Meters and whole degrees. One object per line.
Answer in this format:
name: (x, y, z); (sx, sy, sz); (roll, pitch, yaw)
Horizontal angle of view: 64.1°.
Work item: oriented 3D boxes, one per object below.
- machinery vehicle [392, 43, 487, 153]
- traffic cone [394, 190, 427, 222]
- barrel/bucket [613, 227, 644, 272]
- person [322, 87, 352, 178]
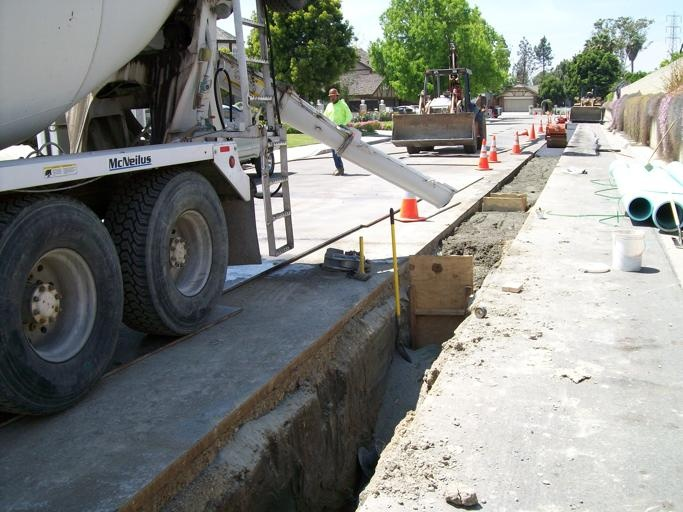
machinery vehicle: (3.844, -6.215, 23.869); (3.094, 4.910, 6.969); (1, 10, 21)
traffic cone: (1.221, -0.863, 9.346); (0.462, 0.599, 0.449); (-1, 8, 14)
barrel/bucket: (3.418, -0.083, 6.374); (0.427, 0.468, 0.426); (-3, 6, 0)
person: (-0.175, -3.612, 15.944); (0.837, 2.428, 0.757); (15, 29, 38)
